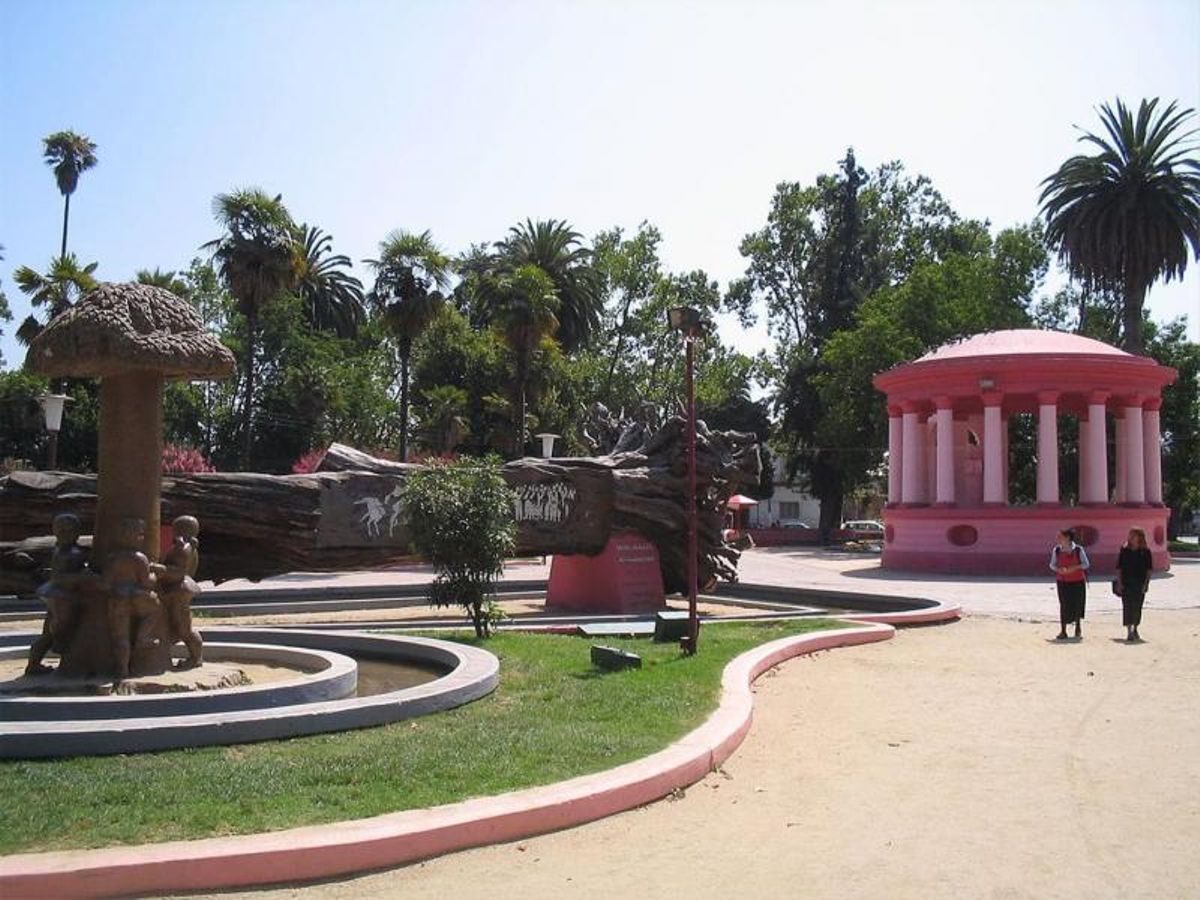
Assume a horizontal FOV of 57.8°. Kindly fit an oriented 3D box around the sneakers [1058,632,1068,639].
[{"bbox_3d":[7.545,2.998,17.656,0.047,0.062,0.141,20,-9,-19],"label":"sneakers"}]

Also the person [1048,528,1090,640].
[{"bbox_3d":[7.781,2.179,17.940,0.492,1.794,1.484,0,-4,24],"label":"person"}]

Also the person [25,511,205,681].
[{"bbox_3d":[-4.847,1.466,11.084,1.557,1.621,0.971,4,-4,-31],"label":"person"}]
